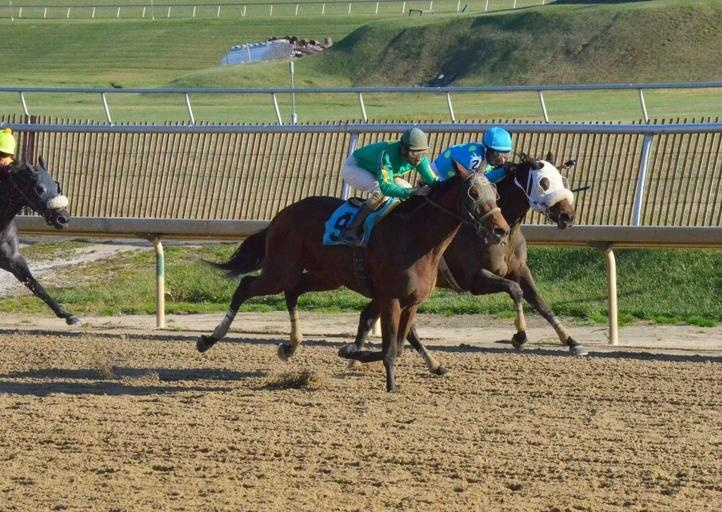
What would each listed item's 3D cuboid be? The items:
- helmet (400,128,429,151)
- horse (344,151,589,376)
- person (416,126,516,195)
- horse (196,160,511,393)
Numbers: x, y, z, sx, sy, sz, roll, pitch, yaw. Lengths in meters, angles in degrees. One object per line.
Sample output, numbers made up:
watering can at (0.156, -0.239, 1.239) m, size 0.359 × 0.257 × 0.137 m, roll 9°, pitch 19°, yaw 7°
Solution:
helmet at (0.658, -1.548, 20.105) m, size 0.333 × 0.287 × 0.173 m, roll -3°, pitch 13°, yaw -1°
horse at (1.322, 0.253, 21.549) m, size 4.194 × 2.743 × 0.959 m, roll -10°, pitch -10°, yaw 44°
person at (1.416, -1.295, 20.599) m, size 1.210 × 0.801 × 0.653 m, roll -2°, pitch 21°, yaw 16°
horse at (-0.169, 0.229, 20.792) m, size 4.451 × 2.992 × 1.034 m, roll 5°, pitch -1°, yaw 32°
